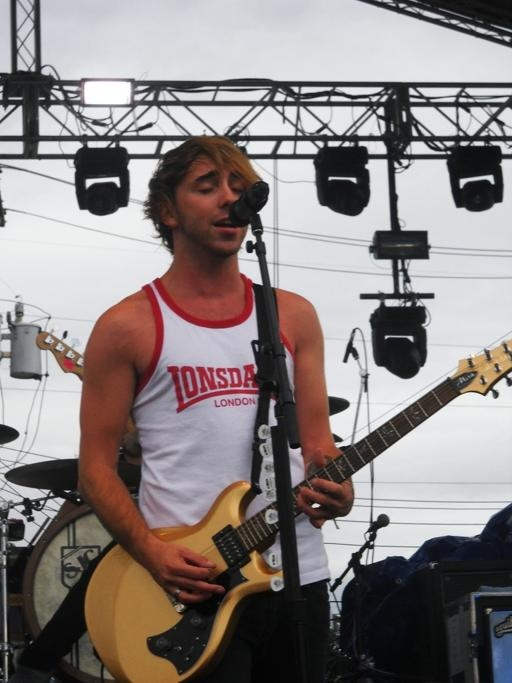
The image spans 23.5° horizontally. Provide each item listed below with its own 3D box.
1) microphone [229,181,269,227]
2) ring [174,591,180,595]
[{"bbox_3d":[-0.030,-0.529,4.743,0.149,0.161,0.154,-1,2,-6],"label":"microphone"},{"bbox_3d":[-0.306,0.959,4.746,0.020,0.014,0.020,2,1,0],"label":"ring"}]
